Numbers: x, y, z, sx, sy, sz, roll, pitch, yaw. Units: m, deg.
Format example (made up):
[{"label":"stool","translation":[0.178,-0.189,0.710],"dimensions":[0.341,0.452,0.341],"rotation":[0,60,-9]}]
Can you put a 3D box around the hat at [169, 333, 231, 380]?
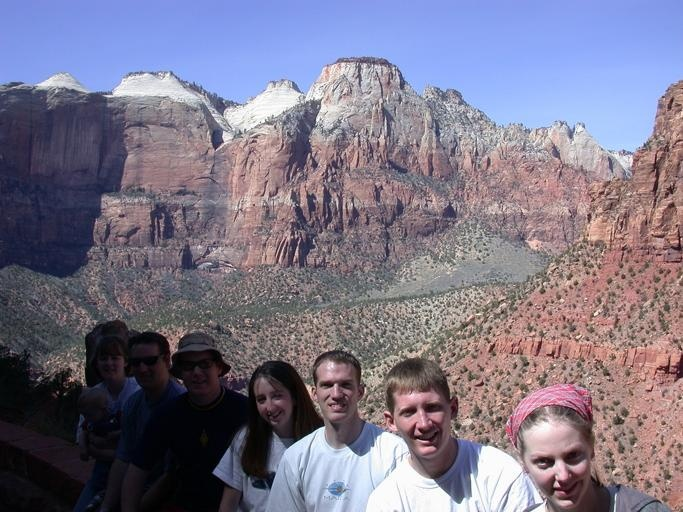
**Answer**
[{"label":"hat","translation":[-2.547,1.762,12.645],"dimensions":[0.750,0.510,0.968],"rotation":[-1,-38,-1]}]
